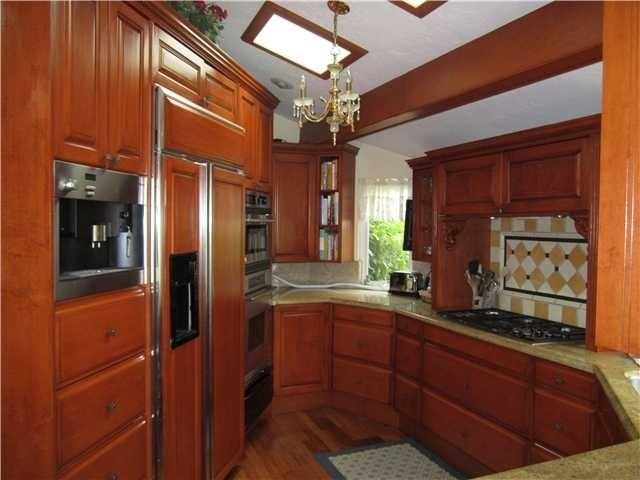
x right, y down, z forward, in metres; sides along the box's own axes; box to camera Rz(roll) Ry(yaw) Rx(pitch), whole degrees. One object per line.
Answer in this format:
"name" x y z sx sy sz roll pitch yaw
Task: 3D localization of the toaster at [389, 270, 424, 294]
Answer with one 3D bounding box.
"toaster" 0.793 0.391 4.464 0.188 0.231 0.322 -1 3 -37
